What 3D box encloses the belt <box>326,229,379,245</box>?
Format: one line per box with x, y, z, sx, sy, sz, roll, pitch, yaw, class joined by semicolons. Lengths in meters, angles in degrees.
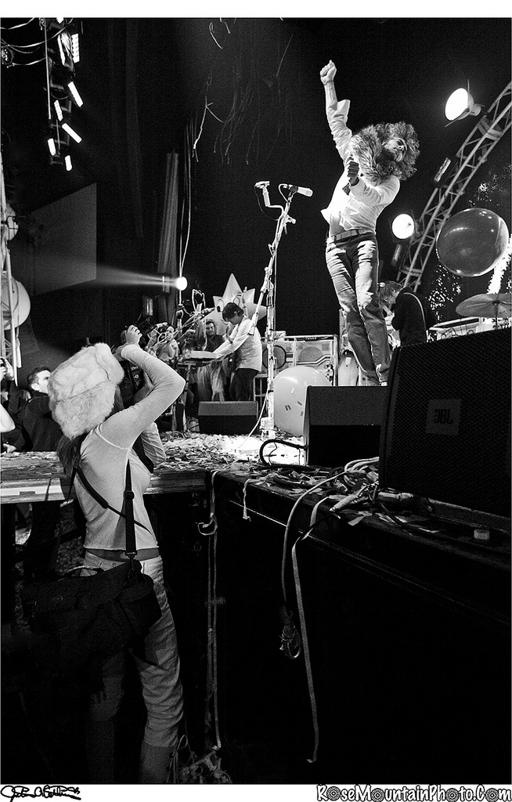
0.667;-1.188;4.498;0.397;0.109;0.115;16;15;41;belt

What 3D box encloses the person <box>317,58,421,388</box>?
0.749;-1.242;4.457;0.705;2.229;0.781;6;10;10;person

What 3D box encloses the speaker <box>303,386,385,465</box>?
0.271;0.039;2.002;0.248;0.309;0.206;0;7;-4;speaker

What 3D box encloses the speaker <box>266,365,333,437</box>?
0.236;0.049;3.411;0.272;0.392;0.379;4;29;9;speaker

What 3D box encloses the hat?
-0.560;-0.028;2.133;0.274;0.270;0.223;-37;6;-17;hat

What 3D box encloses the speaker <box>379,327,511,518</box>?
0.346;0.053;1.121;0.112;0.325;0.324;1;-3;-12;speaker

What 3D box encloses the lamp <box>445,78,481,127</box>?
1.707;-2.453;5.126;0.248;0.268;0.410;8;11;14;lamp
